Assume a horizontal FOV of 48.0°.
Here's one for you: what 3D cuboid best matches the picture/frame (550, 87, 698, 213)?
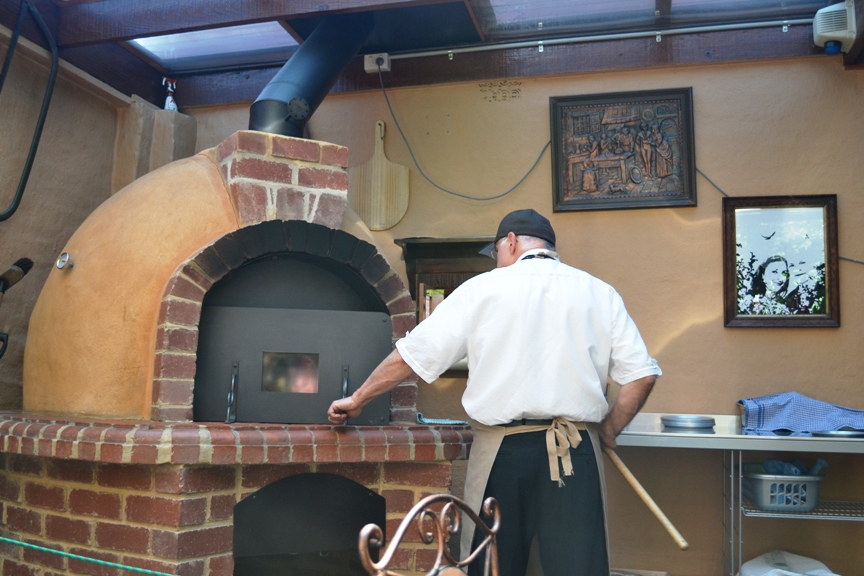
[{"bbox_3d":[1.239,-0.842,6.093,0.702,0.643,0.066,-2,-3,10],"label":"picture/frame"}]

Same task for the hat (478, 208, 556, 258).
[{"bbox_3d":[0.438,-0.302,4.924,0.334,0.194,0.252,-3,-7,23],"label":"hat"}]

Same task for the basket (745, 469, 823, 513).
[{"bbox_3d":[1.974,1.157,5.478,0.277,0.140,0.226,0,-3,16],"label":"basket"}]
